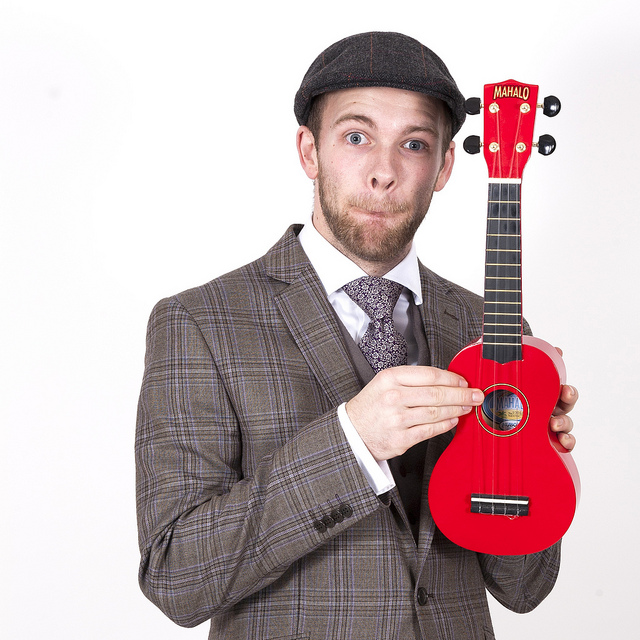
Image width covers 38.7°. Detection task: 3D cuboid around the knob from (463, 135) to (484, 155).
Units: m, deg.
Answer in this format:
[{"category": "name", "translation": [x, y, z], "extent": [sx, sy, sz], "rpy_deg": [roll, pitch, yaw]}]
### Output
[{"category": "knob", "translation": [0.363, -0.418, 2.161], "extent": [0.049, 0.038, 0.015], "rpy_deg": [-1, 10, 0]}]

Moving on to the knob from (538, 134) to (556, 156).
[{"category": "knob", "translation": [0.538, -0.415, 2.155], "extent": [0.044, 0.047, 0.011], "rpy_deg": [-3, -7, 5]}]

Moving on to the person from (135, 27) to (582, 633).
[{"category": "person", "translation": [0.078, 0.022, 2.356], "extent": [1.015, 1.471, 0.804], "rpy_deg": [12, -34, -11]}]

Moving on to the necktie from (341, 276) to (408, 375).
[{"category": "necktie", "translation": [0.153, 0.007, 2.424], "extent": [0.169, 0.258, 0.060], "rpy_deg": [0, -58, -15]}]
